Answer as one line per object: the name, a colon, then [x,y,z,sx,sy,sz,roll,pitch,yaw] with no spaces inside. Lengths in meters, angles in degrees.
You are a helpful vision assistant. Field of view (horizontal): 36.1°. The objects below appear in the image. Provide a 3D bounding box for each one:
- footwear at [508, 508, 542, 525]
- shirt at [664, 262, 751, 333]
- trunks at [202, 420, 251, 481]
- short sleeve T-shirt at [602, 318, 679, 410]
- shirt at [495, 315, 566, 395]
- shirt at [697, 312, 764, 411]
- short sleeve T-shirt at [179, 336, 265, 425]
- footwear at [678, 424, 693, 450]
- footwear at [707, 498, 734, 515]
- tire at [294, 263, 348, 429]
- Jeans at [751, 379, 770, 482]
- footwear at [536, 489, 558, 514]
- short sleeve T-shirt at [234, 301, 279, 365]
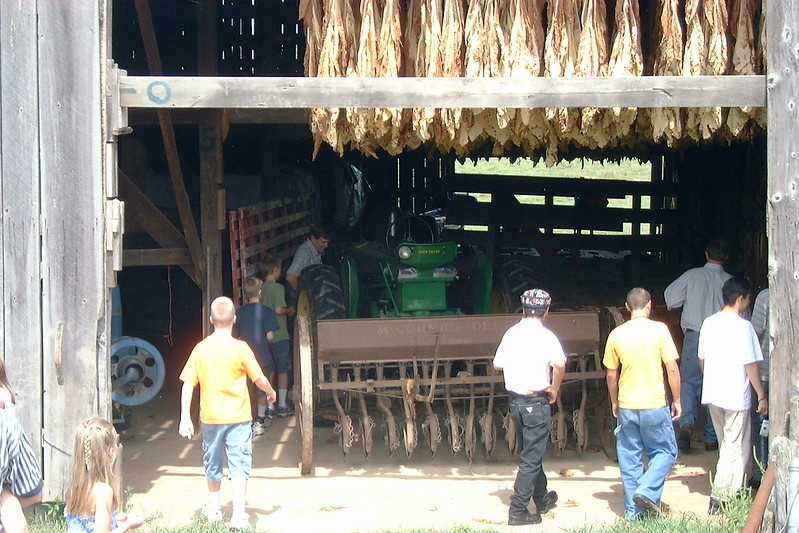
footwear: [1.149,2.304,11.209,0.313,0.140,0.123,-2,2,-8]
shirt: [3.151,0.341,12.420,0.627,0.643,0.276,17,7,33]
trunks: [-1.572,1.698,11.016,0.425,0.233,0.644,-3,46,-10]
short sleeve T-shirt: [2.200,0.911,11.234,0.892,1.114,0.405,0,2,18]
shirt: [1.216,0.813,11.345,0.698,0.751,0.415,1,8,24]
shirt: [3.074,0.880,11.255,0.769,1.074,0.373,6,8,44]
short sleeve T-shirt: [-1.605,1.071,11.360,0.962,1.091,0.379,0,5,2]
footwear: [2.958,1.770,12.587,0.096,0.332,0.139,1,-9,8]
footwear: [2.913,2.193,11.157,0.141,0.132,0.157,-8,27,6]
tire: [-0.798,0.849,12.700,0.409,1.282,1.234,-5,28,-13]
Jeans: [3.377,1.629,11.621,0.185,0.829,0.218,-4,-26,29]
footwear: [1.389,2.205,11.396,0.099,0.201,0.274,11,36,28]
short sleeve T-shirt: [-1.559,0.694,12.992,0.534,0.727,0.268,-4,40,-10]
